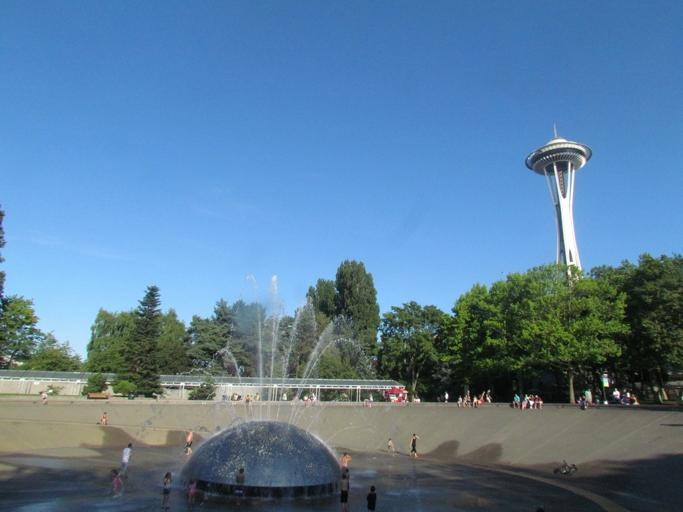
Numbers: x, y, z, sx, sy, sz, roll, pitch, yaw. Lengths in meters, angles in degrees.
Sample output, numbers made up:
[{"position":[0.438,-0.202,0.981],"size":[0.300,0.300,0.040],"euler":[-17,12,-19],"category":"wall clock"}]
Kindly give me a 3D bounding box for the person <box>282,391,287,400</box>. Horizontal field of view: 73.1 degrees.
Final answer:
[{"position":[-7.088,17.353,57.318],"size":[0.514,1.101,0.559],"euler":[-4,-8,20],"category":"person"}]

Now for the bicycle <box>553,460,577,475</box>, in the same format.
[{"position":[13.882,13.102,28.548],"size":[0.987,0.394,1.073],"euler":[-9,-7,30],"category":"bicycle"}]

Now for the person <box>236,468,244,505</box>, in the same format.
[{"position":[-5.029,11.268,22.825],"size":[0.437,1.486,0.642],"euler":[5,-16,-11],"category":"person"}]

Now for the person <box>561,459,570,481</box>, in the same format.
[{"position":[13.660,12.920,28.145],"size":[0.441,0.817,1.578],"euler":[-5,-19,24],"category":"person"}]

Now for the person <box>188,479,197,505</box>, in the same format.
[{"position":[-7.159,11.157,22.126],"size":[0.323,1.105,1.902],"euler":[6,-18,-15],"category":"person"}]
